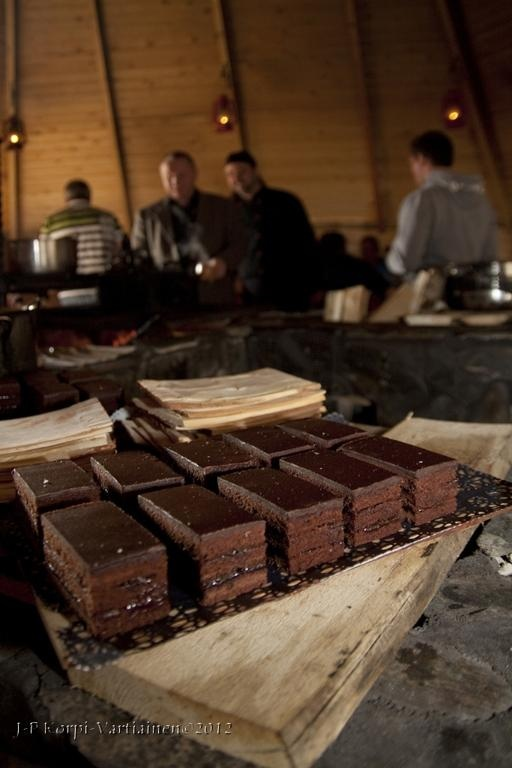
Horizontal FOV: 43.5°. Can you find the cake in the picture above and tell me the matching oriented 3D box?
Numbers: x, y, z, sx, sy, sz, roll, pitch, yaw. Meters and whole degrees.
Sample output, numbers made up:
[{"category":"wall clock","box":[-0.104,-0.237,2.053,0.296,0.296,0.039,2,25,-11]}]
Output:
[{"category":"cake","box":[-0.023,0.207,1.153,0.689,0.173,0.416,-7,9,-29]}]

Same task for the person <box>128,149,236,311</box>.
[{"category":"person","box":[-0.332,-0.737,3.012,0.503,0.707,0.163,-3,10,-2]}]
